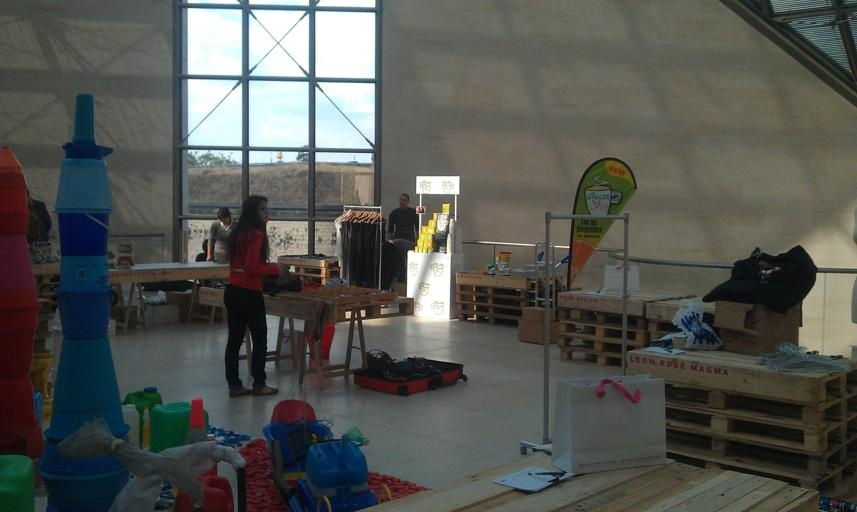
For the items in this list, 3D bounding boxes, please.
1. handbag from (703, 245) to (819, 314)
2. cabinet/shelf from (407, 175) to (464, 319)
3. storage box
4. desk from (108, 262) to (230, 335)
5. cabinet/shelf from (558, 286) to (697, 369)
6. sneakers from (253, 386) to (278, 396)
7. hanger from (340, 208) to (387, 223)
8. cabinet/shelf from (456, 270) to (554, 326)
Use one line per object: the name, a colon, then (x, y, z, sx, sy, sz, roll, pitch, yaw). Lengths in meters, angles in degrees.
handbag: (3.879, 0.190, 9.088, 0.964, 0.290, 0.911, -2, 25, 25)
cabinet/shelf: (0.108, -0.182, 15.750, 1.085, 2.819, 1.703, 1, -1, -1)
storage box: (3.809, 0.792, 9.115, 0.974, 0.573, 0.540, -1, 0, -23)
desk: (-4.568, 0.670, 13.885, 2.134, 0.907, 0.770, -3, 5, -40)
cabinet/shelf: (2.884, 0.775, 12.027, 1.298, 0.781, 1.747, -6, 7, -42)
sneakers: (-2.141, 1.764, 10.512, 0.261, 0.091, 0.128, -2, 2, -21)
hanger: (-1.400, -0.810, 16.623, 0.672, 0.193, 0.468, -2, 6, 9)
cabinet/shelf: (1.190, 0.748, 14.751, 1.073, 0.706, 1.500, -5, 7, -43)
